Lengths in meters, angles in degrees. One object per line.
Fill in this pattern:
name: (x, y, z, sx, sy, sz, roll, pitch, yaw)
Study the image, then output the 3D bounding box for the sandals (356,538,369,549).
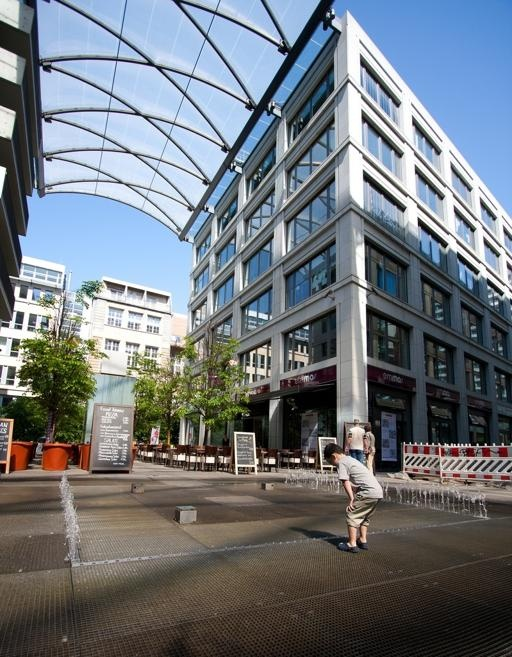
sandals: (1.357, 2.815, 4.802, 0.080, 0.093, 0.225, 1, -7, -9)

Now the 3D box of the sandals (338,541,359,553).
sandals: (1.133, 2.758, 4.619, 0.113, 0.099, 0.220, 6, -6, -33)

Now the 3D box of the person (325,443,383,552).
person: (1.289, 2.229, 4.849, 0.641, 1.359, 1.296, -3, -14, 18)

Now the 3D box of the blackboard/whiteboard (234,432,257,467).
blackboard/whiteboard: (-0.422, 5.690, 16.956, 0.930, 1.580, 1.545, -3, -14, 20)
